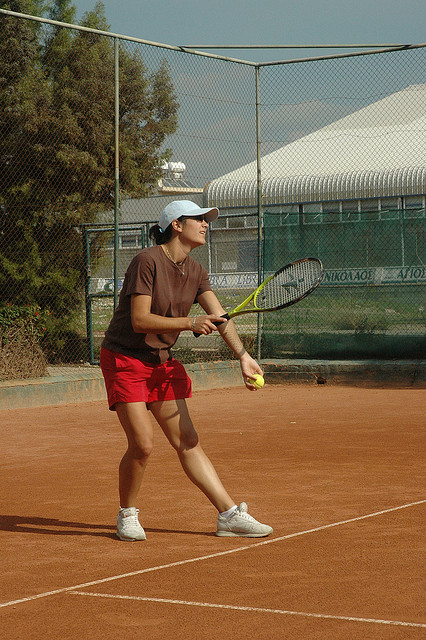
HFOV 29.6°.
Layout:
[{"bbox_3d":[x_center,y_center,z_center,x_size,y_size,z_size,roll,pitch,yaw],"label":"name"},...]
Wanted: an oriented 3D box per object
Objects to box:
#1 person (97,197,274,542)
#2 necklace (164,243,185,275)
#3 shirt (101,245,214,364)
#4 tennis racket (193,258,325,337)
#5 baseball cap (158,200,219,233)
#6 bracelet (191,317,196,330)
[{"bbox_3d":[-0.140,0.227,3.536,0.699,1.506,0.502,-1,2,-8],"label":"person"},{"bbox_3d":[-0.167,-0.263,3.524,0.009,0.105,0.076,-25,21,-11],"label":"necklace"},{"bbox_3d":[-0.231,-0.070,3.539,0.480,0.523,0.404,-1,2,-16],"label":"shirt"},{"bbox_3d":[0.318,-0.190,5.853,1.141,0.063,0.442,-31,40,1],"label":"tennis racket"},{"bbox_3d":[-0.113,-0.472,3.636,0.259,0.162,0.246,0,2,3],"label":"baseball cap"},{"bbox_3d":[-0.078,0.015,3.307,0.016,0.046,0.022,-1,2,-1],"label":"bracelet"}]
